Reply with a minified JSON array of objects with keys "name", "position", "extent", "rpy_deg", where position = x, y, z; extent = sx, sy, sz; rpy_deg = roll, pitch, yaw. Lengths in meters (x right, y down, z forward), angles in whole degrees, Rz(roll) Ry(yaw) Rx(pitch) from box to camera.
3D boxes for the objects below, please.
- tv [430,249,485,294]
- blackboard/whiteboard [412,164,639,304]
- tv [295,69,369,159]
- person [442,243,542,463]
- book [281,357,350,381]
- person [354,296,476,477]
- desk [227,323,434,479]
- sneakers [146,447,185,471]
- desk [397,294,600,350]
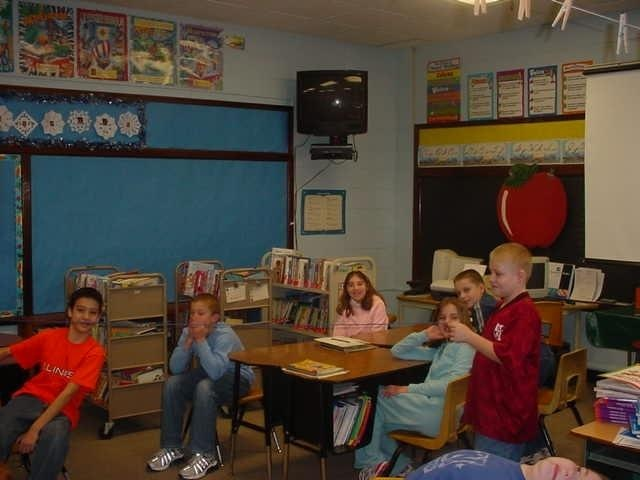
[{"name":"tv","position":[1.648,0.344,6.297],"extent":[0.525,0.534,0.535],"rpy_deg":[6,6,22]},{"name":"blackboard/whiteboard","position":[2.357,-0.092,5.735],"extent":[0.077,1.080,1.880],"rpy_deg":[0,-1,-38]},{"name":"tv","position":[0.148,-1.621,6.693],"extent":[0.891,1.116,0.367],"rpy_deg":[0,4,-5]},{"name":"person","position":[0.982,0.642,2.914],"extent":[0.458,1.245,0.441],"rpy_deg":[2,5,23]},{"name":"book","position":[-0.026,0.869,3.485],"extent":[0.289,0.068,0.427],"rpy_deg":[-4,6,-44]},{"name":"person","position":[0.617,0.998,3.428],"extent":[0.583,0.328,1.379],"rpy_deg":[2,5,39]},{"name":"desk","position":[0.107,0.705,3.732],"extent":[0.934,0.720,1.520],"rpy_deg":[0,1,39]},{"name":"sneakers","position":[-1.195,1.687,4.045],"extent":[0.222,0.098,0.133],"rpy_deg":[2,1,-43]},{"name":"desk","position":[1.488,0.629,3.999],"extent":[0.502,0.475,0.986],"rpy_deg":[1,-2,-41]}]
